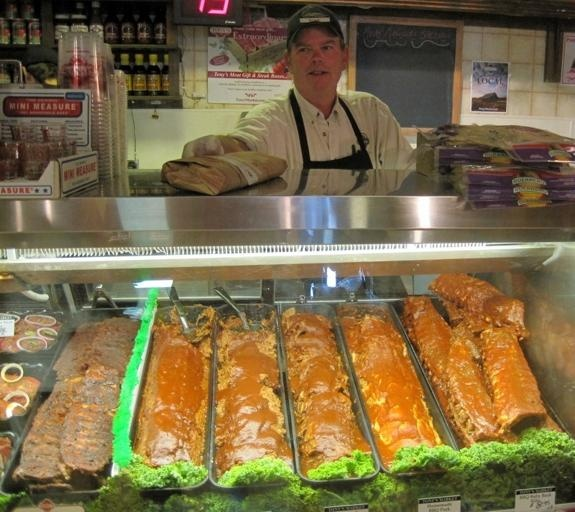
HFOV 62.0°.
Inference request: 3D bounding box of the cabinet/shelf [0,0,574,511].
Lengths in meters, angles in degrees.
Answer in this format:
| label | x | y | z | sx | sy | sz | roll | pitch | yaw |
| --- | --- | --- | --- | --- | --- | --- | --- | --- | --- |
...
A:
| label | x | y | z | sx | sy | sz | roll | pitch | yaw |
| --- | --- | --- | --- | --- | --- | --- | --- | --- | --- |
| cabinet/shelf | -0.023 | 0.190 | 1.473 | 1.553 | 0.794 | 0.700 | -1 | 29 | -3 |
